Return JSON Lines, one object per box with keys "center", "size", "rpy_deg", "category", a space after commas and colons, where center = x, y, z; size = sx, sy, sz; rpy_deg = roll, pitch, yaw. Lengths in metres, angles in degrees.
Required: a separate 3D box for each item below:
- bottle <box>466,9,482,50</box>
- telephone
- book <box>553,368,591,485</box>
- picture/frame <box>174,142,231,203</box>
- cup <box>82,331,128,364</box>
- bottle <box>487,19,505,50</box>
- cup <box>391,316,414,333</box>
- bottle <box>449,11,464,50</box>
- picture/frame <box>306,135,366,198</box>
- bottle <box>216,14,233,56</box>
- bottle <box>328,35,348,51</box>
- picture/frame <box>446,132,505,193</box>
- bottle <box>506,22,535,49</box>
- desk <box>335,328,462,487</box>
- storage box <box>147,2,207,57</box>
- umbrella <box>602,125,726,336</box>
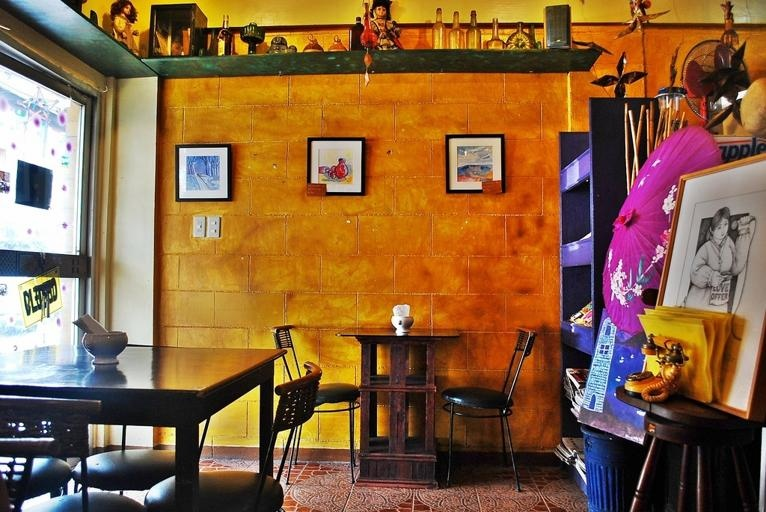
{"center": [0.704, -1.778, 5.534], "size": [0.126, 0.292, 0.371], "rpy_deg": [3, 15, 7], "category": "bottle"}
{"center": [1.361, 0.564, 3.586], "size": [0.300, 0.266, 0.430], "rpy_deg": [-3, 5, 17], "category": "telephone"}
{"center": [1.312, 1.221, 4.946], "size": [0.204, 0.866, 0.911], "rpy_deg": [5, 15, 15], "category": "book"}
{"center": [-1.443, -0.677, 5.761], "size": [0.473, 0.492, 0.033], "rpy_deg": [-1, -3, 1], "category": "picture/frame"}
{"center": [-1.664, 0.564, 4.255], "size": [0.200, 0.152, 0.204], "rpy_deg": [-1, -15, 0], "category": "cup"}
{"center": [0.869, -1.744, 5.526], "size": [0.145, 0.233, 0.330], "rpy_deg": [3, 15, 8], "category": "bottle"}
{"center": [0.129, 0.500, 5.266], "size": [0.122, 0.084, 0.124], "rpy_deg": [1, -3, 0], "category": "cup"}
{"center": [0.565, -1.795, 5.583], "size": [0.102, 0.272, 0.172], "rpy_deg": [1, 15, -1], "category": "bottle"}
{"center": [-0.367, -0.716, 5.685], "size": [0.487, 0.472, 0.038], "rpy_deg": [0, 0, 6], "category": "picture/frame"}
{"center": [-1.258, -1.786, 5.674], "size": [0.116, 0.304, 0.273], "rpy_deg": [-2, 15, -10], "category": "bottle"}
{"center": [-0.353, -1.683, 5.568], "size": [0.155, 0.137, 0.384], "rpy_deg": [0, 15, -4], "category": "bottle"}
{"center": [0.735, -0.738, 5.621], "size": [0.454, 0.448, 0.034], "rpy_deg": [0, 1, 4], "category": "picture/frame"}
{"center": [1.058, -1.721, 5.496], "size": [0.227, 0.216, 0.378], "rpy_deg": [4, 15, 11], "category": "bottle"}
{"center": [0.206, 1.151, 5.563], "size": [1.006, 1.292, 1.044], "rpy_deg": [-1, -8, 8], "category": "desk"}
{"center": [-1.618, -1.807, 5.620], "size": [0.434, 0.405, 0.305], "rpy_deg": [-3, 15, -14], "category": "storage box"}
{"center": [1.488, -0.190, 4.002], "size": [0.395, 1.024, 0.966], "rpy_deg": [11, 18, -14], "category": "umbrella"}
